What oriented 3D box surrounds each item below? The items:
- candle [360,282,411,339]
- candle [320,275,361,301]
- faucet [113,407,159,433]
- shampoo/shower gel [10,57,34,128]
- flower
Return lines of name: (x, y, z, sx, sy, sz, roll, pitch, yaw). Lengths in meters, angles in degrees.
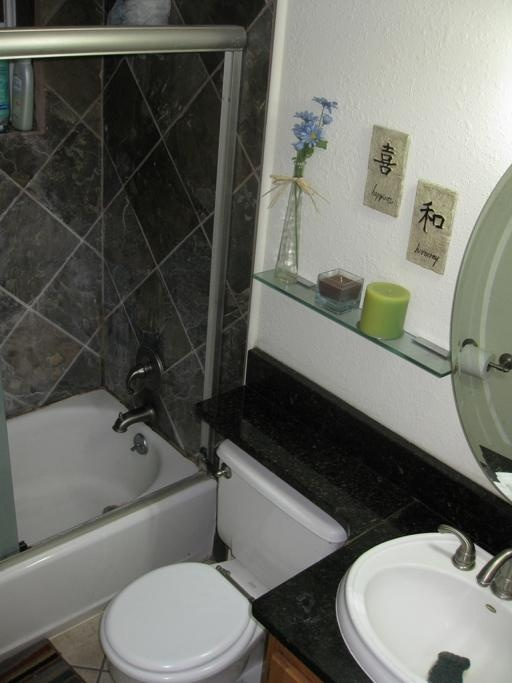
candle: (0.241, -0.056, 1.143, 0.098, 0.111, 0.099, 6, 33, 5)
candle: (0.170, -0.110, 1.162, 0.062, 0.039, 0.062, -18, 36, -39)
faucet: (-0.420, 0.263, 1.964, 0.168, 0.078, 0.070, -10, 10, -27)
shampoo/shower gel: (-0.625, -0.656, 1.528, 0.059, 0.183, 0.097, 2, 23, -22)
flower: (0.100, -0.351, 1.254, 0.081, 0.349, 0.175, 10, 21, 0)
